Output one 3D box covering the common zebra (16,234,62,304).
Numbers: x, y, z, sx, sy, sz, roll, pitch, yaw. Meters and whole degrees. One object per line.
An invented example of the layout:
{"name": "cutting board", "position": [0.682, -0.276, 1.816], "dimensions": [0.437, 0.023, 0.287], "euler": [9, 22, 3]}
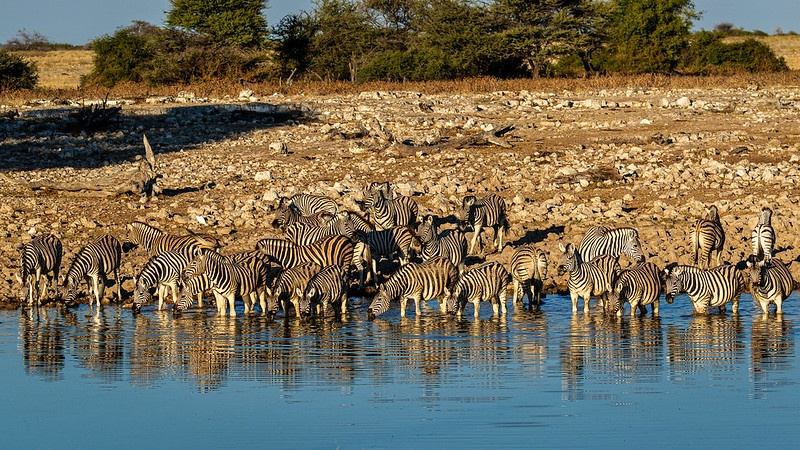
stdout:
{"name": "common zebra", "position": [-12.085, 1.503, 49.088], "dimensions": [1.352, 2.346, 0.620], "euler": [-1, -2, -21]}
